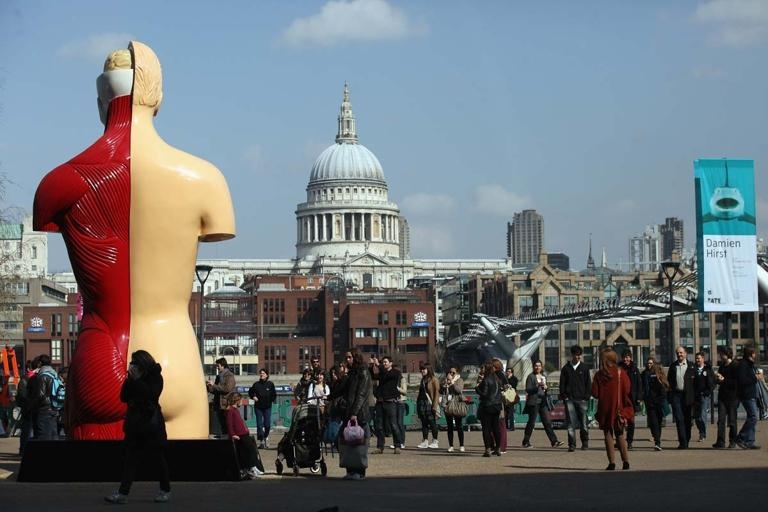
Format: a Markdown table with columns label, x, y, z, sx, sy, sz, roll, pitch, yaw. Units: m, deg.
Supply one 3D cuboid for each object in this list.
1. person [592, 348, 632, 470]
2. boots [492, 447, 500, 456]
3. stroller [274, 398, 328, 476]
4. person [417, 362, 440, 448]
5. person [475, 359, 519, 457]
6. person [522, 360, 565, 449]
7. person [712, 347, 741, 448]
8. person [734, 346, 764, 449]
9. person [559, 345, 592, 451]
| label | x | y | z | sx | sy | sz | roll | pitch | yaw |
| --- | --- | --- | --- | --- | --- | --- | --- | --- | --- |
| person | 5.106 | 3.445 | 37.278 | 0.939 | 2.680 | 1.022 | 1 | 0 | 0 |
| boots | 2.786 | 4.847 | 40.789 | 0.205 | 0.171 | 0.125 | 3 | -5 | 0 |
| stroller | -2.060 | 4.222 | 38.053 | 1.294 | 2.152 | 1.518 | 2 | -5 | -16 |
| person | 1.159 | 3.889 | 42.370 | 0.555 | 2.120 | 1.405 | -2 | -7 | 1 |
| person | 2.795 | 3.729 | 40.754 | 0.974 | 2.387 | 0.999 | 0 | 4 | 1 |
| person | 4.192 | 3.878 | 43.096 | 0.993 | 2.154 | 1.090 | 0 | 2 | -2 |
| person | 8.449 | 3.503 | 40.557 | 0.585 | 2.416 | 0.653 | 2 | 0 | -2 |
| person | 8.917 | 3.476 | 40.492 | 0.757 | 2.604 | 0.688 | -1 | 1 | -14 |
| person | 4.773 | 3.517 | 41.119 | 0.947 | 2.583 | 0.821 | 0 | 2 | -20 |
